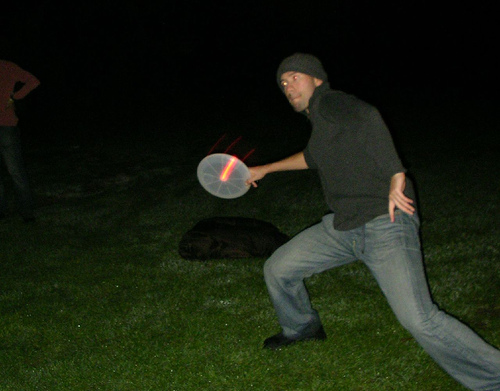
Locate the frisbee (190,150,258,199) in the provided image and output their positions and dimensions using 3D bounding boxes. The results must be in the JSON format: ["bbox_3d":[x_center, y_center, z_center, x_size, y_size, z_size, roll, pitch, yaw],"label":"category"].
[{"bbox_3d":[-0.244,-0.150,3.866,0.449,0.118,0.463,19,54,-6],"label":"frisbee"}]
